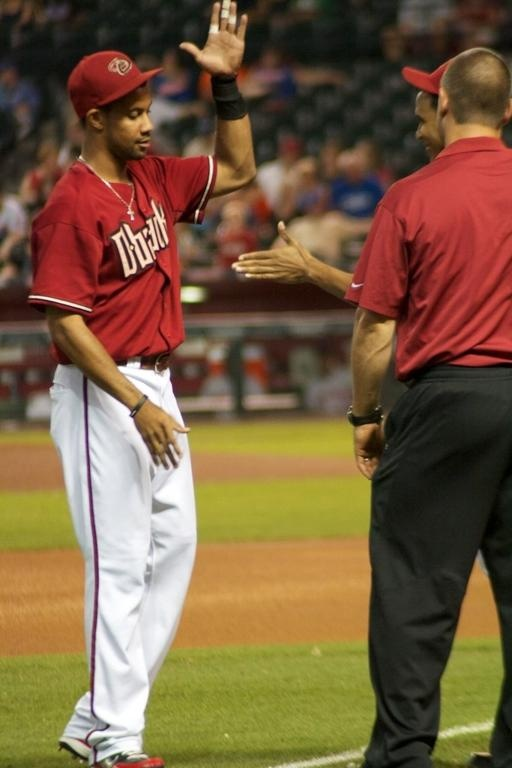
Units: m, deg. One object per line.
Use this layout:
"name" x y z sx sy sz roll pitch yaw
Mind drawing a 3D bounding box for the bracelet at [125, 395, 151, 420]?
"bracelet" -0.339 0.068 3.387 0.054 0.069 0.049 -1 5 -6

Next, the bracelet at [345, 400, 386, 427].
"bracelet" 0.311 0.087 3.433 0.088 0.051 0.089 -1 4 29

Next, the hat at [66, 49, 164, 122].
"hat" -0.448 -0.871 3.494 0.261 0.139 0.184 -28 7 24
